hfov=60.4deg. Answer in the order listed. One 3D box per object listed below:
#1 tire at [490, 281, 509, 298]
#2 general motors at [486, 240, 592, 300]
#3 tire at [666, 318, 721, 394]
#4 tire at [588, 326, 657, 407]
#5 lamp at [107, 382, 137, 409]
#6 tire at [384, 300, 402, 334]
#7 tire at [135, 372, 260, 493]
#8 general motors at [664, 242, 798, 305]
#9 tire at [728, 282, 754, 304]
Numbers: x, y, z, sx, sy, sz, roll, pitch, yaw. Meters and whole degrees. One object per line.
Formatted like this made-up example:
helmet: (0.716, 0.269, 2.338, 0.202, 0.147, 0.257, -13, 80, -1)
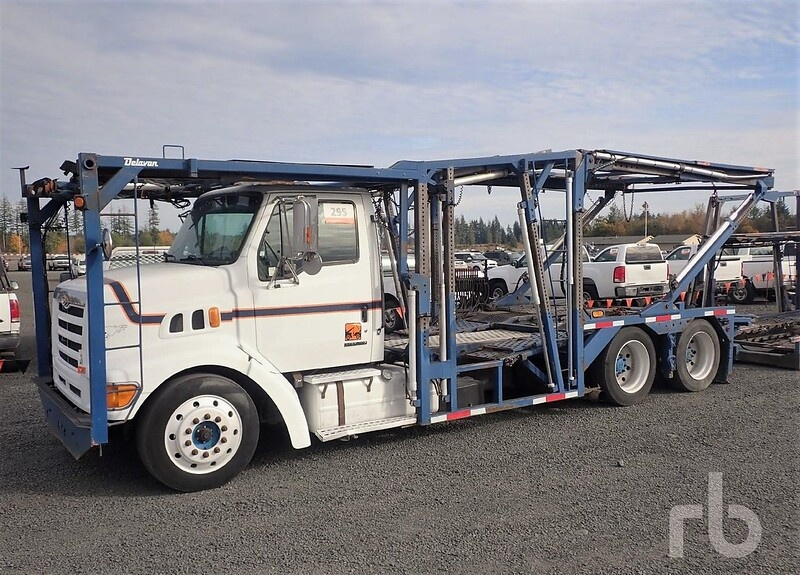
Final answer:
tire: (3.267, 0.083, 22.226, 0.480, 0.514, 0.175, -2, -5, 30)
general motors: (4.351, -0.518, 21.714, 3.296, 1.589, 1.743, 0, 2, 16)
tire: (4.749, 1.090, 11.127, 1.098, 1.137, 0.374, -28, 15, -25)
tire: (3.264, 1.169, 10.136, 0.891, 0.926, 0.314, 25, -14, -31)
lamp: (-2.816, 1.098, 6.936, 0.196, 0.201, 0.273, -4, -11, 39)
tire: (-0.087, 0.432, 9.591, 0.152, 0.448, 0.423, -7, 7, -37)
tire: (-2.168, 1.522, 7.244, 1.185, 1.259, 0.466, -1, 3, -26)
general motors: (8.678, -0.317, 17.687, 1.676, 1.439, 3.094, -5, 7, -28)
tire: (11.926, 0.184, 23.819, 0.661, 0.710, 0.225, 1, 7, 28)
